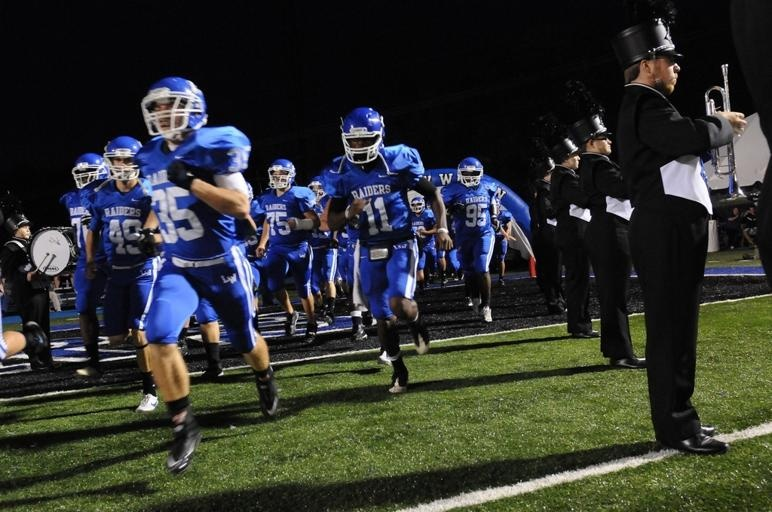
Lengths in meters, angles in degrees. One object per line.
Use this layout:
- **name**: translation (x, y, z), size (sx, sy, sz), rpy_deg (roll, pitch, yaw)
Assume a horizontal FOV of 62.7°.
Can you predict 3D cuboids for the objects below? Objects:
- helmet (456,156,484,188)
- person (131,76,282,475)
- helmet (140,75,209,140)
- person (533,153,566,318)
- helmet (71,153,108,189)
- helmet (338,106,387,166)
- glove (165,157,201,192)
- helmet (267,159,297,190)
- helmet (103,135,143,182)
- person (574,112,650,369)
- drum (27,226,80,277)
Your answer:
- **helmet**: translation (1.448, -1.440, 10.869), size (0.464, 0.430, 0.556), rpy_deg (-2, 12, 5)
- **person**: translation (-1.502, 0.075, 4.982), size (0.811, 2.941, 1.261), rpy_deg (-2, 11, 25)
- **helmet**: translation (-1.674, -1.198, 5.123), size (0.460, 0.411, 0.546), rpy_deg (-1, 5, 20)
- **person**: translation (2.670, -0.295, 9.530), size (0.793, 2.395, 0.803), rpy_deg (1, 0, 2)
- **helmet**: translation (-3.665, -1.048, 7.745), size (0.382, 0.362, 0.451), rpy_deg (-1, 0, -8)
- **helmet**: translation (-0.230, -1.214, 6.285), size (0.472, 0.429, 0.565), rpy_deg (3, 27, 19)
- **glove**: translation (-1.520, -0.593, 4.676), size (0.189, 0.213, 0.086), rpy_deg (-7, 10, -7)
- **helmet**: translation (-1.762, -1.333, 10.409), size (0.435, 0.417, 0.523), rpy_deg (0, 3, 6)
- **helmet**: translation (-2.793, -1.051, 6.736), size (0.409, 0.398, 0.481), rpy_deg (-2, 14, -18)
- **person**: translation (2.217, -0.202, 6.298), size (0.859, 2.295, 0.958), rpy_deg (0, -1, 5)
- **drum**: translation (-4.961, -0.057, 9.358), size (0.518, 0.684, 1.061), rpy_deg (-7, 10, -5)
